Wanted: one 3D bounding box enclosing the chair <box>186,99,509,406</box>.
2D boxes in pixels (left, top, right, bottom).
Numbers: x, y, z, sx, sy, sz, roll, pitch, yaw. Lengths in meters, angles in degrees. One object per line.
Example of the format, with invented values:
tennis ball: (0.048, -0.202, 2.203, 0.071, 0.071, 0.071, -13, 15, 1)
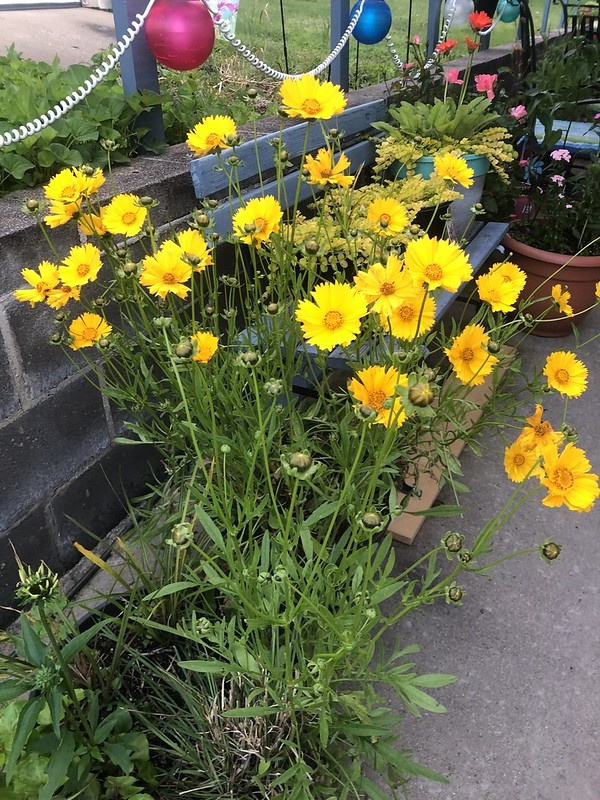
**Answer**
chair: (0.214, -0.530, 2.050, 0.529, 0.715, 1.207, 21, 40, 19)
